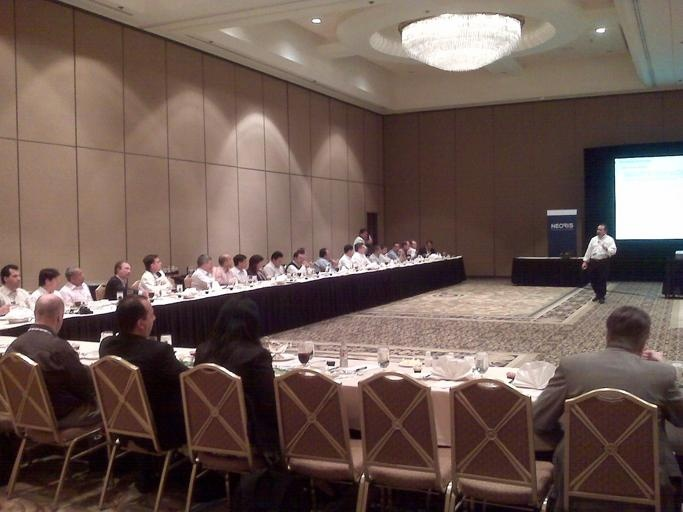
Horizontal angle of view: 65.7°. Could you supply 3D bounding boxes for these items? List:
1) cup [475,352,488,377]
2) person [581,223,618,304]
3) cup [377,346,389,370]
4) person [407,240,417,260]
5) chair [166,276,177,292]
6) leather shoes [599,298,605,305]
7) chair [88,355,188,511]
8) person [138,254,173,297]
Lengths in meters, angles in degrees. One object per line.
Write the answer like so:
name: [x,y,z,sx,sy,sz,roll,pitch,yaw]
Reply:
cup: [0.950,0.729,3.599,0.074,0.177,0.174,0,3,19]
person: [5.508,0.146,11.342,0.606,1.622,0.830,0,3,27]
cup: [0.298,0.736,3.834,0.074,0.178,0.169,-1,3,2]
person: [1.974,-0.176,14.945,0.223,0.793,0.350,-1,16,16]
chair: [-2.782,0.456,8.670,0.161,0.260,0.194,7,9,36]
leather shoes: [5.488,0.949,11.176,0.117,0.101,0.127,1,14,13]
chair: [-1.364,1.126,3.472,0.510,1.007,0.251,0,3,20]
person: [-2.875,0.392,8.089,0.457,0.789,0.603,-2,6,-15]
